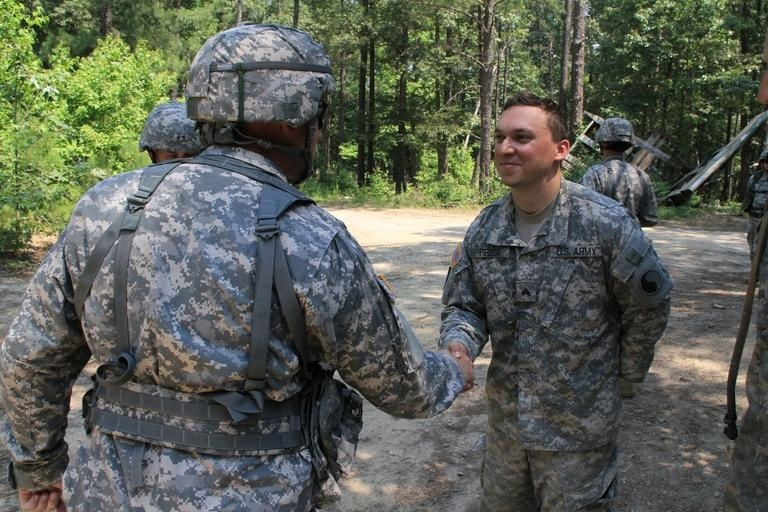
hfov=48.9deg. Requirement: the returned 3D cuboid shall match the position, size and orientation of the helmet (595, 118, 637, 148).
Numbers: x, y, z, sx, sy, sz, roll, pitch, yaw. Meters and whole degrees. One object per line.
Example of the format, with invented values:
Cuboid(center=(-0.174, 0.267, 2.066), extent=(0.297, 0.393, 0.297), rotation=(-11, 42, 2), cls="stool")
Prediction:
Cuboid(center=(2.378, -1.258, 8.615), extent=(0.378, 0.191, 0.292), rotation=(-3, 8, -27), cls="helmet")
